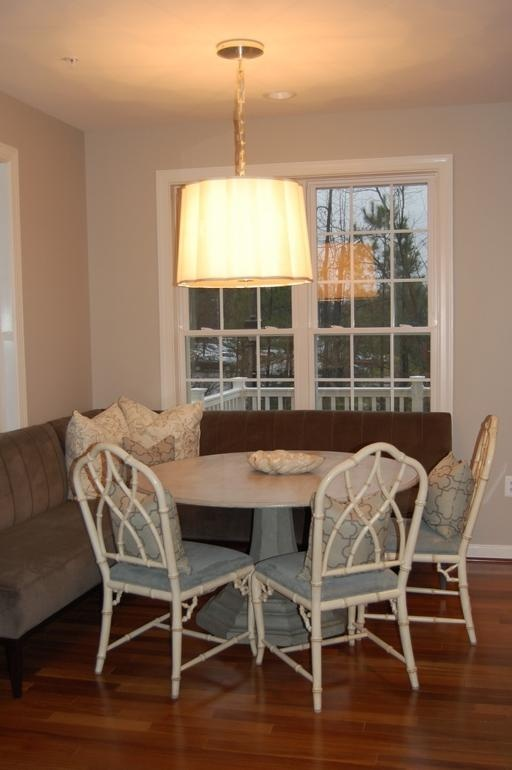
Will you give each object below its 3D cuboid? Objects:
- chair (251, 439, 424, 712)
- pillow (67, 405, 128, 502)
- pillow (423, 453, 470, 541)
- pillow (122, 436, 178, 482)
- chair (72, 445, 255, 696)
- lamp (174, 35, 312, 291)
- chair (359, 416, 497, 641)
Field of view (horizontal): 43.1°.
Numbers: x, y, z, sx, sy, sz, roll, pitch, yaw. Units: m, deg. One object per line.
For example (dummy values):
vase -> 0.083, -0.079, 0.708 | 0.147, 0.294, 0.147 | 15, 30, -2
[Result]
chair -> 0.266, 0.591, 2.219 | 0.466, 0.840, 0.494 | -2, 4, -19
pillow -> -0.709, 0.315, 2.882 | 0.157, 0.317, 0.420 | 3, 7, 10
pillow -> 0.763, 0.451, 2.584 | 0.158, 0.248, 0.308 | -1, 0, 4
pillow -> -0.477, 0.329, 2.875 | 0.049, 0.125, 0.206 | 2, 3, 39
chair -> -0.331, 0.599, 2.347 | 0.436, 0.874, 0.545 | 1, 6, 37
lamp -> -0.052, -0.776, 2.205 | 0.449, 0.714, 0.449 | -1, 13, -4
chair -> 0.705, 0.535, 2.690 | 0.460, 0.761, 0.432 | 6, -3, 19
